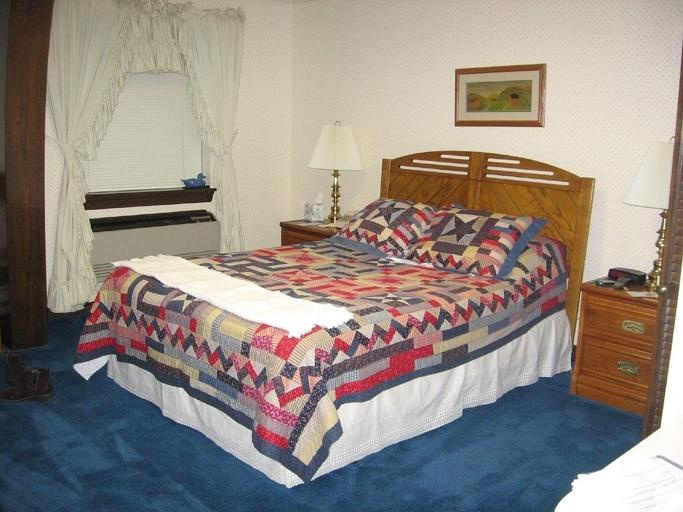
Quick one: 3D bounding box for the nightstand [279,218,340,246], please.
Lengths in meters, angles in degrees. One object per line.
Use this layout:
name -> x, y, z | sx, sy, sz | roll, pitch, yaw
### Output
nightstand -> -0.345, -0.236, 5.218 | 0.285, 0.415, 0.503 | -10, 16, -40

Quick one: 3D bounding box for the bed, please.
bed -> 0.300, 0.434, 3.699 | 2.911, 1.501, 2.238 | -11, 20, -37

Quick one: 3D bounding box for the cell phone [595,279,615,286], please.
cell phone -> 1.757, 0.180, 3.541 | 0.067, 0.015, 0.060 | -9, 12, -36

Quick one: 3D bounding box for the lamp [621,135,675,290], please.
lamp -> 2.011, -0.286, 3.510 | 0.256, 0.982, 0.523 | 7, 13, 27
